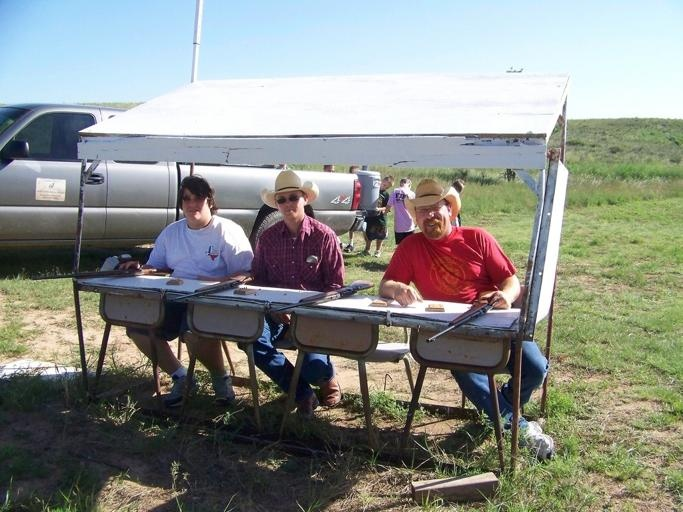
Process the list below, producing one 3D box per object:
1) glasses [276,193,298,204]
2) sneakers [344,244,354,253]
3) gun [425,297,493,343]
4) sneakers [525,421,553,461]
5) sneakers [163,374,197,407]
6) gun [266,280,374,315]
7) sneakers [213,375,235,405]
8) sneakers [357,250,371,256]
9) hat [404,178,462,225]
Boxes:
[{"bbox_3d":[-0.415,-0.446,4.823,0.166,0.091,0.044,0,12,-8],"label":"glasses"},{"bbox_3d":[0.119,-0.137,11.253,0.091,0.113,0.255,-2,-7,9],"label":"sneakers"},{"bbox_3d":[0.770,0.387,3.824,0.105,0.119,0.725,11,15,37],"label":"gun"},{"bbox_3d":[1.343,1.260,4.210,0.156,0.105,0.265,2,39,-45],"label":"sneakers"},{"bbox_3d":[-1.287,1.058,4.890,0.204,0.241,0.345,-3,-6,-4],"label":"sneakers"},{"bbox_3d":[-0.161,0.294,4.365,0.106,0.067,0.690,-5,8,35],"label":"gun"},{"bbox_3d":[-0.918,1.045,4.845,0.217,0.233,0.143,-7,-5,11],"label":"sneakers"},{"bbox_3d":[0.394,-0.057,11.051,0.247,0.111,0.087,3,-5,5],"label":"sneakers"},{"bbox_3d":[0.712,-0.415,4.602,0.288,0.183,0.372,-6,-4,18],"label":"hat"}]
